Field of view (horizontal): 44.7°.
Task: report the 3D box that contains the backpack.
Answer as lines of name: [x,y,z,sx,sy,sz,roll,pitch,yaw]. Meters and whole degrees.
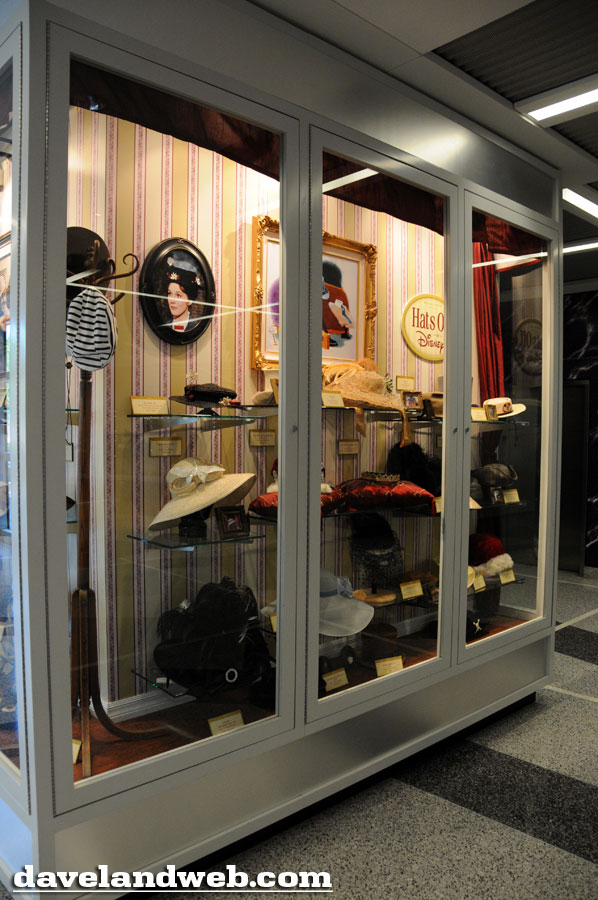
backpack: [-0.219,0.474,1.982,0.270,0.343,0.278,2,-3,40]

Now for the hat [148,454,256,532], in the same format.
hat: [-0.257,0.097,1.987,0.316,0.143,0.264,-18,-7,-1]

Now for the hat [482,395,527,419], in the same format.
hat: [0.800,-0.161,2.836,0.115,0.031,0.112,-15,14,-25]

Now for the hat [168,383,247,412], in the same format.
hat: [-0.247,-0.140,1.971,0.116,0.037,0.106,-7,19,-38]

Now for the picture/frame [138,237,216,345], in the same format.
picture/frame: [-0.333,-0.414,1.931,0.291,0.366,0.028,-4,3,-42]

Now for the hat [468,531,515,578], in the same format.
hat: [0.741,0.408,2.807,0.142,0.119,0.204,-3,-10,11]

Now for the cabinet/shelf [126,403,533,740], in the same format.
cabinet/shelf: [0.370,0.452,3.847,0.918,1.813,2.946,-8,0,8]

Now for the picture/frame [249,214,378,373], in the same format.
picture/frame: [0.029,-0.459,2.120,0.040,0.396,0.533,-2,-1,32]

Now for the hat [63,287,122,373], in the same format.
hat: [-0.471,-0.281,1.703,0.058,0.162,0.125,9,5,12]
